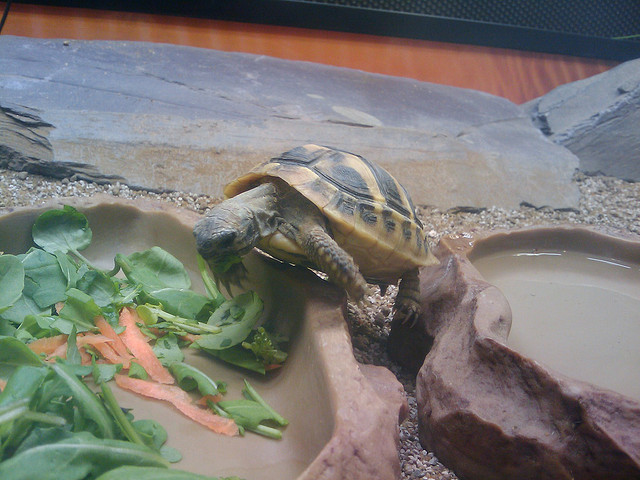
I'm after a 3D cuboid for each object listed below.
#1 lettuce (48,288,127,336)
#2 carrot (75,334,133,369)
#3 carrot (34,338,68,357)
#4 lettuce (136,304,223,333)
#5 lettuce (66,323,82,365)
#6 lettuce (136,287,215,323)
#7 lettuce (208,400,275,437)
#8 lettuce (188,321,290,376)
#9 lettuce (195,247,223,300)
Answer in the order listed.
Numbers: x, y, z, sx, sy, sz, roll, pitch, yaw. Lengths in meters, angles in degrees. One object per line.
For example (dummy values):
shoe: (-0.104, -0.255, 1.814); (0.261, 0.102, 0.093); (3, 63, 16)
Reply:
lettuce: (-0.827, 0.256, 1.953); (0.151, 0.069, 0.187); (-20, 84, -42)
carrot: (-0.760, 0.396, 1.985); (0.226, 0.129, 0.068); (0, 47, 22)
carrot: (-0.899, 0.344, 1.890); (0.055, 0.034, 0.082); (31, 28, 23)
lettuce: (-0.520, 0.299, 2.075); (0.286, 0.058, 0.131); (14, 44, -8)
lettuce: (-0.795, 0.331, 1.839); (0.014, 0.140, 0.038); (2, -8, 29)
lettuce: (-0.532, 0.236, 2.151); (0.236, 0.142, 0.232); (6, 4, 14)
lettuce: (-0.281, 0.598, 2.013); (0.174, 0.063, 0.272); (13, 0, 20)
lettuce: (-0.285, 0.384, 2.077); (0.347, 0.165, 0.189); (4, 29, -29)
lettuce: (-0.459, 0.119, 2.289); (0.034, 0.069, 0.247); (0, 62, -53)
